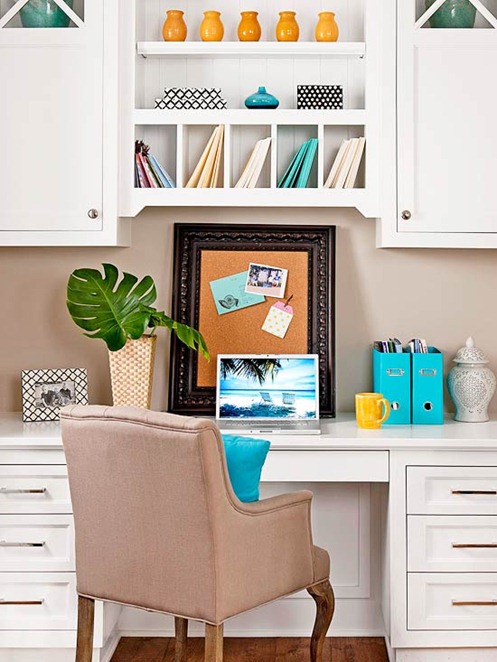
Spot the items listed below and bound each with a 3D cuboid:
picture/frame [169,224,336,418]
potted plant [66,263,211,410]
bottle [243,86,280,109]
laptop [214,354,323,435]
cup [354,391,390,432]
[{"bbox_3d":[0.034,-0.017,2.208,0.665,0.837,0.037,1,-4,1],"label":"picture/frame"},{"bbox_3d":[-0.369,0.011,2.162,0.508,0.528,0.252,1,3,-7],"label":"potted plant"},{"bbox_3d":[0.036,-0.808,2.187,0.098,0.062,0.099,0,14,0],"label":"bottle"},{"bbox_3d":[0.063,0.194,1.999,0.353,0.243,0.241,0,-4,1],"label":"laptop"},{"bbox_3d":[0.392,0.255,2.019,0.082,0.116,0.126,0,1,-43],"label":"cup"}]
